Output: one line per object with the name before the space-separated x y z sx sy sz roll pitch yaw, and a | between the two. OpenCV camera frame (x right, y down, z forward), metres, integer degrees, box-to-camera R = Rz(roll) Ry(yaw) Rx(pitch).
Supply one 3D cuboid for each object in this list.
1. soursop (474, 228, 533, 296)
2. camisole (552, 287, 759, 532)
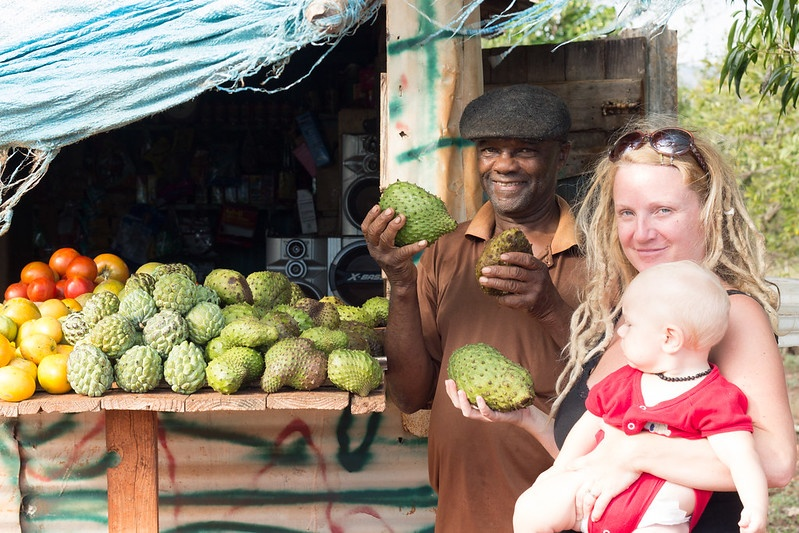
soursop | 0.498 -0.074 4.118 0.331 0.203 0.281 -40 -15 4
camisole | 1.104 0.637 3.519 0.493 0.878 0.905 27 -23 -25
